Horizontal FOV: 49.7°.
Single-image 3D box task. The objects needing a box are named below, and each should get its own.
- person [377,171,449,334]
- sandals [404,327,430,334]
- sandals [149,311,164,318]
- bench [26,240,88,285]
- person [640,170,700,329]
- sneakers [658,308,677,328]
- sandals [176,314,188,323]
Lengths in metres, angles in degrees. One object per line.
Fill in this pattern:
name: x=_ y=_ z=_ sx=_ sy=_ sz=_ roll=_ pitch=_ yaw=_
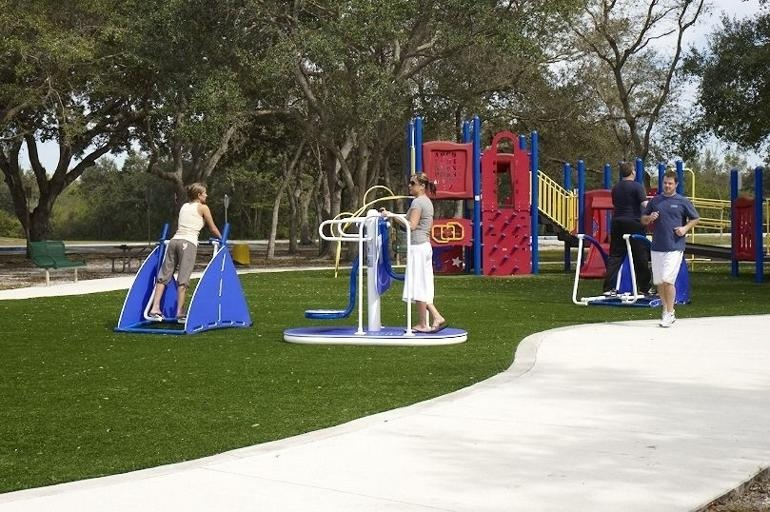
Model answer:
person: x=0.555 y=-0.044 z=12.283 sx=0.475 sy=2.267 sz=0.805 roll=0 pitch=0 yaw=16
sandals: x=0.491 y=1.126 z=12.412 sx=0.265 sy=0.066 sz=0.152 roll=3 pitch=-3 yaw=0
sandals: x=-3.789 y=1.003 z=13.882 sx=0.244 sy=0.105 sz=0.158 roll=0 pitch=0 yaw=-17
bench: x=-8.831 y=0.203 z=22.642 sx=0.847 sy=1.174 sz=1.313 roll=1 pitch=3 yaw=21
person: x=4.745 y=-0.121 z=13.734 sx=0.797 sy=2.308 sz=0.810 roll=0 pitch=0 yaw=-2
sneakers: x=4.593 y=1.020 z=13.508 sx=0.234 sy=0.248 sz=0.393 roll=0 pitch=0 yaw=15
sandals: x=-3.395 y=1.066 z=14.059 sx=0.107 sy=0.119 sz=0.277 roll=-3 pitch=-9 yaw=25
